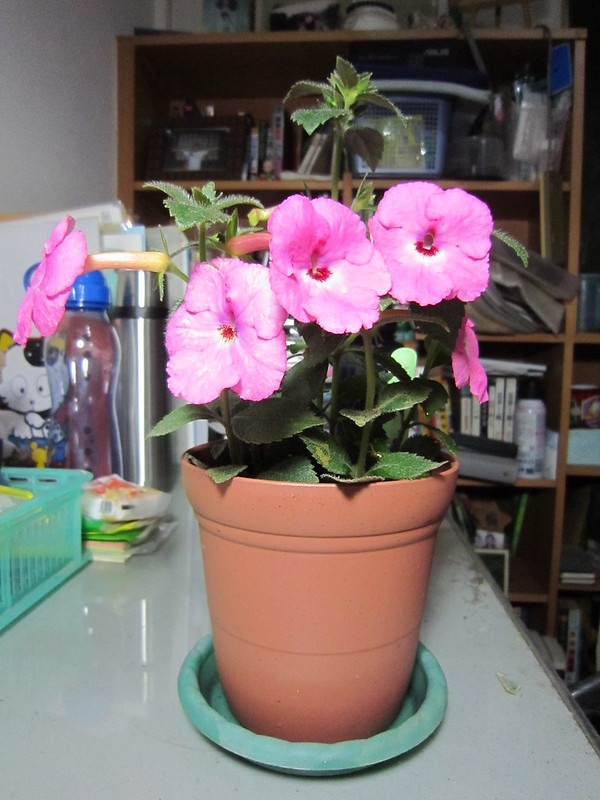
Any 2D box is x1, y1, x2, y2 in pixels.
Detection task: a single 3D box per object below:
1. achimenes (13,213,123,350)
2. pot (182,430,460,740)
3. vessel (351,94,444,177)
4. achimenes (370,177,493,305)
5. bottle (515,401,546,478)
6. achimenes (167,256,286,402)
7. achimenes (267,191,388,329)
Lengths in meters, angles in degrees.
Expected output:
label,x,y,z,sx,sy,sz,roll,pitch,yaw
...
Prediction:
label,x,y,z,sx,sy,sz,roll,pitch,yaw
achimenes,-0.143,-0.069,0.423,0.039,0.073,0.066,-4,12,-25
pot,0.016,0.134,0.505,0.182,0.161,0.171,2,-4,0
vessel,0.265,-0.667,1.882,0.228,0.198,0.105,2,11,4
achimenes,0.073,-0.085,0.398,0.063,0.064,0.038,-4,12,-24
bottle,0.618,0.102,1.977,0.084,0.210,0.078,1,11,0
achimenes,-0.039,-0.030,0.399,0.075,0.071,0.022,-15,-19,18
achimenes,0.016,-0.070,0.378,0.060,0.066,0.037,2,11,7
